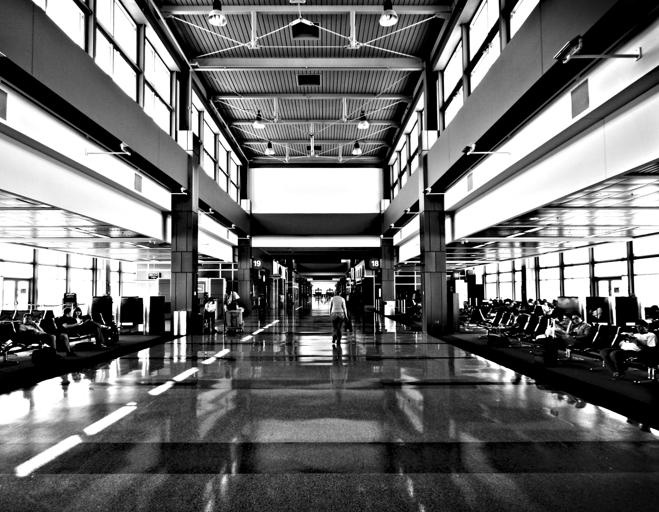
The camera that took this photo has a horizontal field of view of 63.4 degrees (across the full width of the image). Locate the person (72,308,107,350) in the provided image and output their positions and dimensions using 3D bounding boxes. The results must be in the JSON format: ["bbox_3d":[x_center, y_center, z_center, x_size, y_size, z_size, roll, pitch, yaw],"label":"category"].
[{"bbox_3d":[-5.728,1.812,12.931,0.698,0.942,0.791,-10,-12,0],"label":"person"}]

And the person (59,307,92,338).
[{"bbox_3d":[-6.142,1.531,12.456,0.744,0.357,0.759,13,-14,26],"label":"person"}]
